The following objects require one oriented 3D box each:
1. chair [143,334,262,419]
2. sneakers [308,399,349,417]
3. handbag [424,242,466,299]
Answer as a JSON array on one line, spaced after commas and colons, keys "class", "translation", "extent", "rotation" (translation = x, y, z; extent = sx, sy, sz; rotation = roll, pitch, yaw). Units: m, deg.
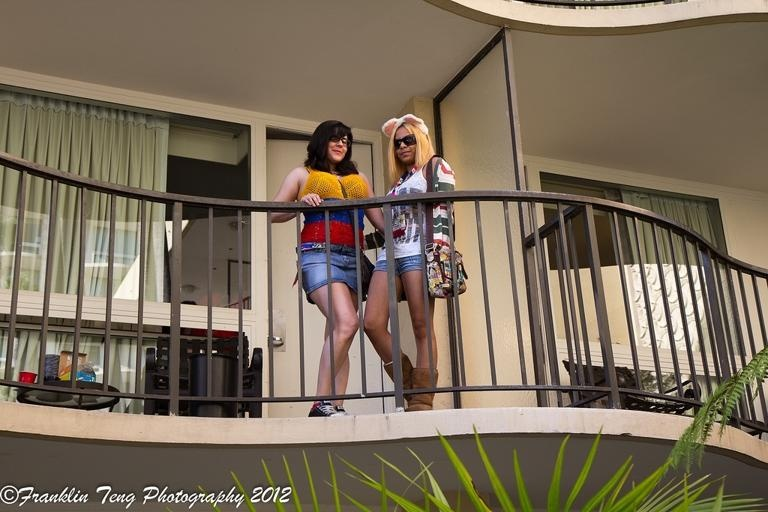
[{"class": "chair", "translation": [-1.316, 0.828, 4.351], "extent": [0.508, 0.695, 0.492], "rotation": [-1, -16, 0]}, {"class": "sneakers", "translation": [-0.336, 0.899, 3.953], "extent": [0.100, 0.116, 0.276], "rotation": [6, -13, -38]}, {"class": "handbag", "translation": [0.363, 0.095, 4.162], "extent": [0.250, 0.341, 0.135], "rotation": [9, -20, -36]}]
